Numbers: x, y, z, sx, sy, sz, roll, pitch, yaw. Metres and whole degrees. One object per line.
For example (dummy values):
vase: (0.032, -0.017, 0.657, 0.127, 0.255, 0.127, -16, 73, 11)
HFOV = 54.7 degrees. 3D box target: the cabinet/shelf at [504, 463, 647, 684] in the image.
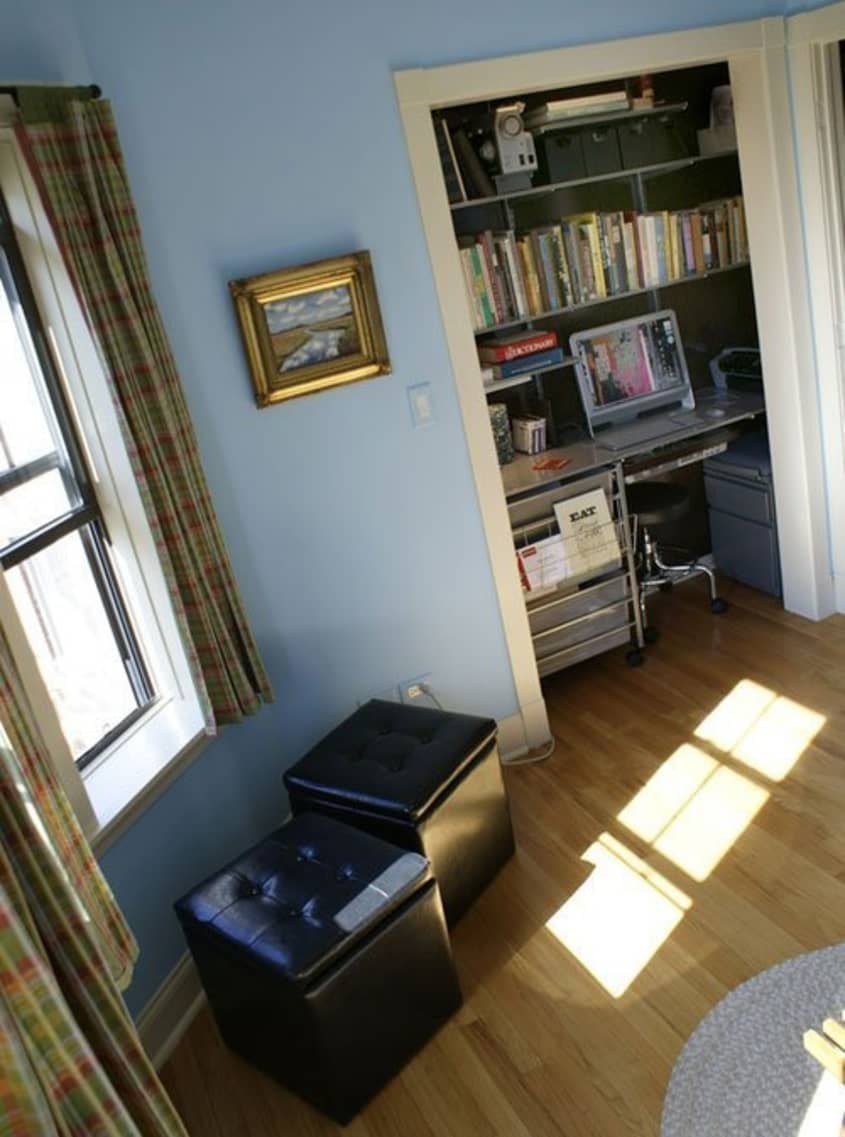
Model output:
cabinet/shelf: (0.507, -0.051, 3.372, 0.446, 0.808, 0.669, -19, 22, -10)

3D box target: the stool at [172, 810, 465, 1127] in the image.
stool: (-0.208, 0.899, 1.846, 0.459, 0.494, 0.406, 2, 24, 43)

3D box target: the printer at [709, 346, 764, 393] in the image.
printer: (1.448, -0.908, 3.794, 0.237, 0.229, 0.239, 8, 43, 28)

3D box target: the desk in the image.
desk: (0.888, -0.163, 3.353, 0.375, 0.678, 1.181, 17, 35, 41)

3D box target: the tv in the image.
tv: (0.883, -0.828, 3.513, 0.553, 0.439, 0.074, -19, 11, -26)

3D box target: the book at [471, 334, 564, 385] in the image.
book: (0.379, -0.842, 3.211, 0.312, 0.153, 0.137, -13, 17, 7)

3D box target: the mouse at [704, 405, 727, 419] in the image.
mouse: (1.221, -0.654, 3.406, 0.069, 0.017, 0.064, 16, 42, 44)

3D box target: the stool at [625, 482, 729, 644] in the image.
stool: (1.024, -0.038, 3.638, 0.479, 0.567, 0.492, -12, 9, 6)

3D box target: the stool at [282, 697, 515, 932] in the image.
stool: (-0.047, 0.625, 2.373, 0.548, 0.583, 0.566, 6, 28, 38)

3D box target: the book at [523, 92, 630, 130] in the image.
book: (0.611, -1.772, 3.158, 0.405, 0.099, 0.142, -18, 17, -10)

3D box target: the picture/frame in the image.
picture/frame: (-0.325, -0.674, 2.247, 0.421, 0.348, 0.024, -22, 28, -23)

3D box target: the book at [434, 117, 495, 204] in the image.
book: (0.144, -1.503, 3.029, 0.075, 0.307, 0.339, -10, 3, 38)
